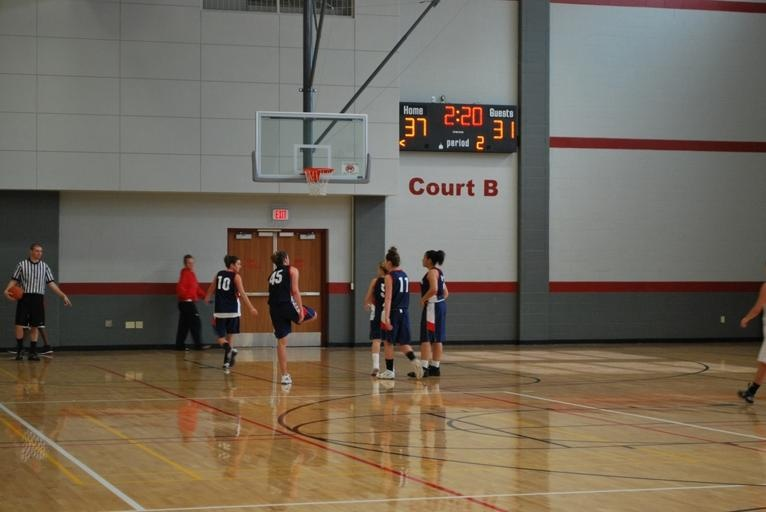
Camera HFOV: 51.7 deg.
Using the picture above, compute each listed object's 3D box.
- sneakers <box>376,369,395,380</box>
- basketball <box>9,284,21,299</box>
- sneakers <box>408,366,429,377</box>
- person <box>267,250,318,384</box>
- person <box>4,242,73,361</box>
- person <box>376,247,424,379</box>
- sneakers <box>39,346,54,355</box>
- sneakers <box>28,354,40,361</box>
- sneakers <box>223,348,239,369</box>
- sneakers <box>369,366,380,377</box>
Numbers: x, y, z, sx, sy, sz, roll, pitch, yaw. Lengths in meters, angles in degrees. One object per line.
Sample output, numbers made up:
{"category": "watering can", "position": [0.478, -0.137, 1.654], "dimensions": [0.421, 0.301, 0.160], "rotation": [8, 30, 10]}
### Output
{"category": "sneakers", "position": [0.048, 2.037, 13.587], "dimensions": [0.337, 0.144, 0.121], "rotation": [2, -7, 4]}
{"category": "basketball", "position": [-7.243, 0.719, 15.636], "dimensions": [0.204, 0.258, 0.235], "rotation": [-1, 4, -3]}
{"category": "sneakers", "position": [0.568, 2.030, 13.839], "dimensions": [0.437, 0.175, 0.148], "rotation": [3, 0, 29]}
{"category": "person", "position": [-1.563, 1.013, 12.985], "dimensions": [0.604, 2.111, 0.633], "rotation": [-4, 5, -37]}
{"category": "person", "position": [-7.001, 0.936, 15.802], "dimensions": [1.046, 2.296, 0.836], "rotation": [2, 5, 29]}
{"category": "person", "position": [0.273, 0.994, 13.583], "dimensions": [0.788, 2.262, 0.804], "rotation": [0, 4, 1]}
{"category": "sneakers", "position": [-7.065, 1.980, 16.603], "dimensions": [0.289, 0.113, 0.127], "rotation": [4, -6, -25]}
{"category": "sneakers", "position": [-6.946, 2.011, 15.730], "dimensions": [0.324, 0.130, 0.108], "rotation": [-2, -5, 30]}
{"category": "sneakers", "position": [-2.817, 1.911, 14.694], "dimensions": [0.197, 0.464, 0.205], "rotation": [15, -7, -20]}
{"category": "sneakers", "position": [-0.156, 2.030, 13.904], "dimensions": [0.131, 0.151, 0.373], "rotation": [1, -12, -5]}
